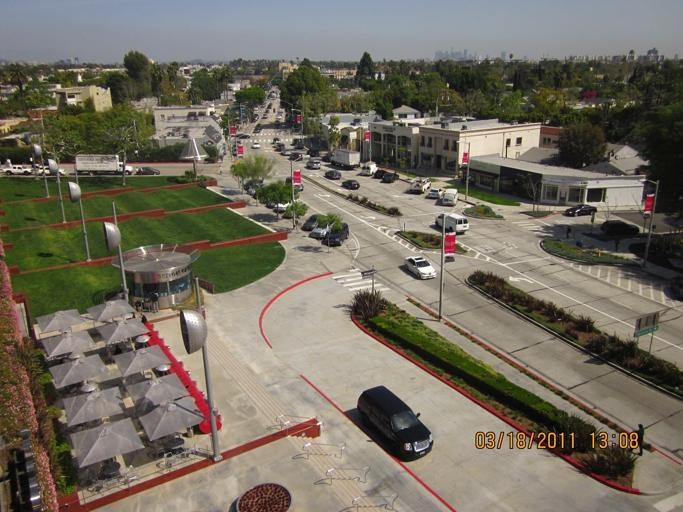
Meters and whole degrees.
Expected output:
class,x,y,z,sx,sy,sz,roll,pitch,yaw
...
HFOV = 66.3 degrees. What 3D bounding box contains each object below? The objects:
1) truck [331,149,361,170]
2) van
class,x,y,z,sx,sy,sz,roll,pitch,yaw
truck,1.072,-18.513,100.990,3.228,2.764,5.970,-10,24,-27
van,3.124,10.158,32.187,2.511,1.766,4.849,-20,29,-28
